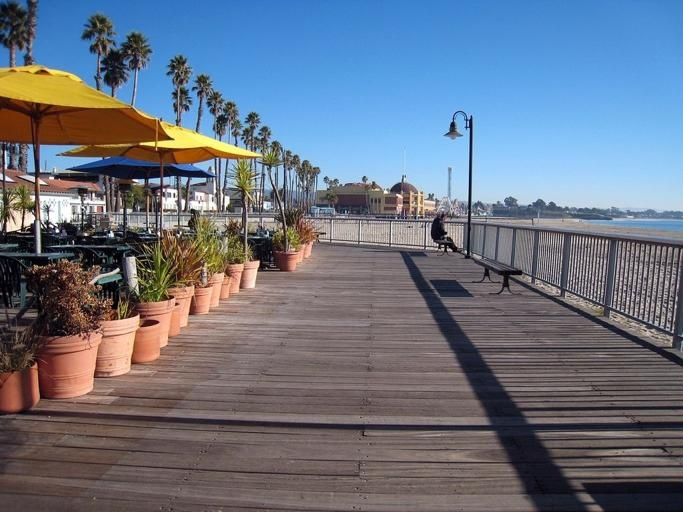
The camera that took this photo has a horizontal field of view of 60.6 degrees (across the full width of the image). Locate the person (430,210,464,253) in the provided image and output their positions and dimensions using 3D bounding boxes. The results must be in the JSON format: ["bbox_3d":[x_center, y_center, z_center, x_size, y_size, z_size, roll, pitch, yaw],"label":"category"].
[{"bbox_3d":[2.922,-0.677,17.307,1.279,1.295,0.786,1,8,-7],"label":"person"}]

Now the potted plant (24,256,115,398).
[{"bbox_3d":[-2.554,0.654,5.405,0.811,1.198,0.688,7,11,20],"label":"potted plant"}]

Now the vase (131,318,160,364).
[{"bbox_3d":[-1.969,0.906,6.076,0.342,0.340,0.369,2,6,1],"label":"vase"}]
